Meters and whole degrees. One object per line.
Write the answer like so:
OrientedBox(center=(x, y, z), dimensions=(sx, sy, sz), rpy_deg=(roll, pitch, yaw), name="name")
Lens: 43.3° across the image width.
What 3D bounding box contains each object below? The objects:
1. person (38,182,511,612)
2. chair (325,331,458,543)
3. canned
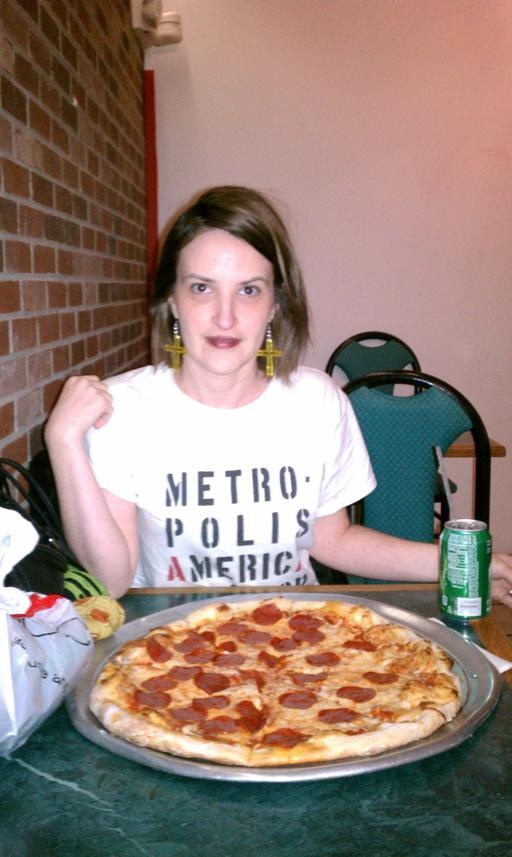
OrientedBox(center=(0.000, -0.074, 1.268), dimensions=(0.620, 0.789, 0.395), rpy_deg=(-1, 4, -1), name="person")
OrientedBox(center=(0.547, -0.012, 3.081), dimensions=(0.606, 1.070, 0.693), rpy_deg=(2, -4, -4), name="chair")
OrientedBox(center=(0.288, 0.195, 0.890), dimensions=(0.069, 0.131, 0.070), rpy_deg=(4, 10, 41), name="canned")
